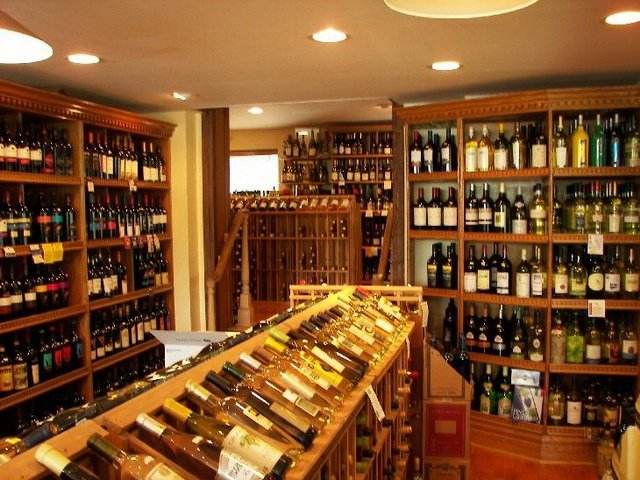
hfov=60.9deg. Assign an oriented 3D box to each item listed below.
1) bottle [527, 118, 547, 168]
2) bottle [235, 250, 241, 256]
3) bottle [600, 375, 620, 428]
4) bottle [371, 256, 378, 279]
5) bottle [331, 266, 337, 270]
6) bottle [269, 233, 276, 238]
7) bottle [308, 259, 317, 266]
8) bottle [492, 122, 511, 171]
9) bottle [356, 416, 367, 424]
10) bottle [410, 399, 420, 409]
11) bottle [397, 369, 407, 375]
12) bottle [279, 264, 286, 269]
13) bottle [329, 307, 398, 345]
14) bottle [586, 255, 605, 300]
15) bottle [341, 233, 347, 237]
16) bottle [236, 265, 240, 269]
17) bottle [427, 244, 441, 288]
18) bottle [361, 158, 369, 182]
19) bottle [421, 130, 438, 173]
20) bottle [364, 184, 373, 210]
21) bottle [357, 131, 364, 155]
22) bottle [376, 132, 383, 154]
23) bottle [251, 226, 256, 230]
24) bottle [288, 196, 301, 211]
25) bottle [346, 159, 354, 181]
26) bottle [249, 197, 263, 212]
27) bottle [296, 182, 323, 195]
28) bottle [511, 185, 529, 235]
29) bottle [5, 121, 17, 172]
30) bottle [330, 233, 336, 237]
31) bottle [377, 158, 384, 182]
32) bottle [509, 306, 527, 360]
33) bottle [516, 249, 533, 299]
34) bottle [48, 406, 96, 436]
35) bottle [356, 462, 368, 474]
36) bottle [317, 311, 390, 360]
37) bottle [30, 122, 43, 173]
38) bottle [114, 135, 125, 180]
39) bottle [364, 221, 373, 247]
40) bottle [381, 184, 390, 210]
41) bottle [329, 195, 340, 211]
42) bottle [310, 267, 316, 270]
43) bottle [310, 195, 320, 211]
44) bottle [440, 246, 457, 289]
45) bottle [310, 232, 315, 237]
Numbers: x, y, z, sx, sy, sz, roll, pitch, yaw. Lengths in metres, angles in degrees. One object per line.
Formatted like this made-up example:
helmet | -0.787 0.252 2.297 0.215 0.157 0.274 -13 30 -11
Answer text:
bottle | 1.688 -0.742 4.230 0.134 0.363 0.163 1 6 22
bottle | -1.199 0.186 7.924 0.052 0.063 0.013 -2 10 -11
bottle | 2.205 1.250 4.146 0.124 0.322 0.205 2 6 29
bottle | 0.853 0.418 8.524 0.110 0.310 0.325 0 6 5
bottle | 0.197 0.404 7.740 0.080 0.051 0.034 -1 5 1
bottle | -0.698 -0.068 7.979 0.060 0.073 0.121 2 1 0
bottle | -0.108 0.332 7.807 0.126 0.149 0.076 0 -2 3
bottle | 1.454 -0.749 4.379 0.126 0.374 0.156 1 5 21
bottle | 0.187 0.826 2.508 0.040 0.043 0.074 -1 -12 1
bottle | 0.634 1.106 3.658 0.045 0.025 0.068 2 -10 -17
bottle | 0.476 0.770 3.159 0.051 0.015 0.055 -1 2 0
bottle | -0.557 0.400 8.028 0.071 0.057 0.042 -2 4 3
bottle | 0.249 0.468 2.916 0.199 0.068 0.194 11 17 -4
bottle | 2.121 0.288 4.208 0.121 0.317 0.143 1 5 18
bottle | 0.328 -0.068 7.581 0.051 0.061 0.013 -1 0 3
bottle | -1.205 0.399 8.000 0.052 0.068 0.032 1 -2 23
bottle | 1.002 0.209 4.761 0.138 0.378 0.228 0 5 11
bottle | 0.747 -1.129 9.115 0.136 0.274 0.127 -1 5 0
bottle | 0.958 -0.765 4.730 0.117 0.359 0.216 2 6 26
bottle | 0.802 -0.717 9.072 0.177 0.392 0.445 0 6 6
bottle | 0.678 -1.625 9.162 0.082 0.350 0.124 3 6 36
bottle | 0.996 -1.607 9.086 0.104 0.337 0.080 0 5 6
bottle | -0.977 -0.182 8.040 0.058 0.064 0.021 -3 -4 5
bottle | -0.371 -0.521 7.895 0.182 0.140 0.386 9 12 -1
bottle | 0.502 -1.178 9.195 0.126 0.374 0.281 -1 5 3
bottle | -0.929 -0.531 8.035 0.188 0.172 0.204 -5 31 8
bottle | -0.219 -0.893 9.532 0.367 0.243 0.365 4 3 0
bottle | 1.620 -0.247 4.432 0.133 0.370 0.407 1 6 21
bottle | -2.140 -0.632 3.778 0.078 0.295 0.135 -4 6 -29
bottle | 0.185 -0.071 7.611 0.095 0.078 0.026 -1 5 -2
bottle | 1.012 -1.162 9.077 0.136 0.367 0.185 0 5 6
bottle | 1.596 0.756 4.397 0.130 0.368 0.234 0 5 10
bottle | 1.624 0.259 4.347 0.107 0.365 0.245 1 6 23
bottle | -0.752 0.529 1.649 0.057 0.044 0.114 3 13 12
bottle | 0.194 1.024 2.457 0.045 0.047 0.040 -1 -1 -3
bottle | 0.175 0.498 2.711 0.220 0.078 0.220 16 18 -5
bottle | -2.060 -0.621 3.956 0.082 0.254 0.114 -3 6 -27
bottle | -1.796 -0.742 4.880 0.086 0.390 0.326 -3 6 -19
bottle | 0.760 -0.096 8.655 0.139 0.354 0.083 0 5 6
bottle | 1.082 -0.678 8.935 0.144 0.319 0.439 0 6 8
bottle | 0.202 -0.513 7.595 0.105 0.199 0.054 0 -18 30
bottle | -0.097 0.412 7.815 0.052 0.035 0.039 4 12 6
bottle | -0.077 -0.531 7.675 0.105 0.194 0.062 9 -27 10
bottle | 1.100 0.220 4.649 0.121 0.374 0.162 0 5 11
bottle | -0.106 -0.070 7.751 0.062 0.069 0.016 -2 -10 11
